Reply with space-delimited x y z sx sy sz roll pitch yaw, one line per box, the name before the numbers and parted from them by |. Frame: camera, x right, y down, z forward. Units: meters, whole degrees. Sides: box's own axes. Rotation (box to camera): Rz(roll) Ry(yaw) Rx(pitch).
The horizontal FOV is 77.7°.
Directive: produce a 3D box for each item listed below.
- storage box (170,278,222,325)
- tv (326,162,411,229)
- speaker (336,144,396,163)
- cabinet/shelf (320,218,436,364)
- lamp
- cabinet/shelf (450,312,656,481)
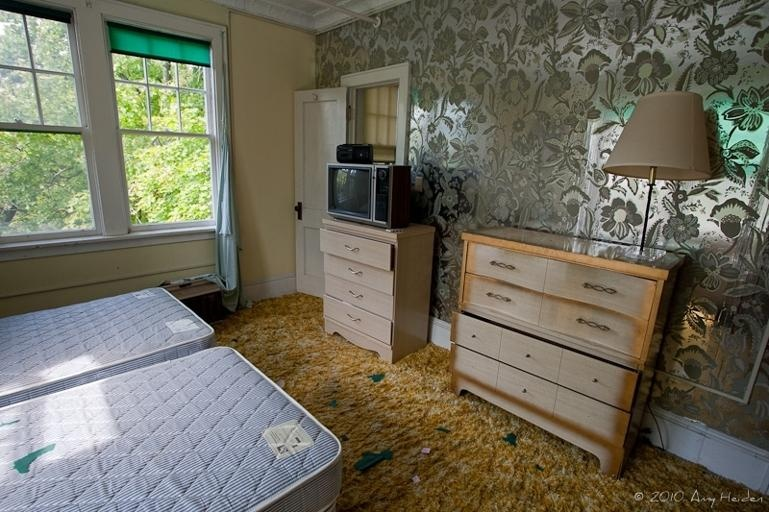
storage box | -1.753 0.481 4.465 0.253 0.320 0.474 -10 -6 11
tv | -0.140 -0.535 4.166 0.410 0.518 0.745 -6 15 -44
speaker | -0.136 -0.932 4.342 0.384 0.166 0.774 6 15 21
cabinet/shelf | -0.079 0.229 4.316 0.875 1.135 0.645 16 21 41
lamp | 1.735 -0.520 3.056 0.612 1.000 0.412 7 15 23
cabinet/shelf | 1.186 0.889 3.425 1.529 0.986 0.886 13 14 38
